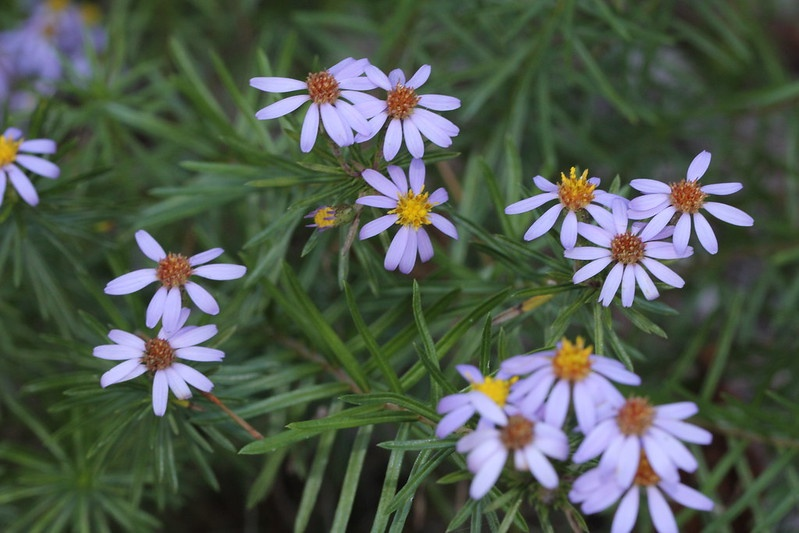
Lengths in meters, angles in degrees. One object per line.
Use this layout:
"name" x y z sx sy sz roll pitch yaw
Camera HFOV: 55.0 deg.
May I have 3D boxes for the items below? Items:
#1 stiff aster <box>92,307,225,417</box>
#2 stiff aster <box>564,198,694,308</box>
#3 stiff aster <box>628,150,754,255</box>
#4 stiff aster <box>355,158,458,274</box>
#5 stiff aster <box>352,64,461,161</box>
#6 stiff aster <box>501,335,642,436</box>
"stiff aster" -0.487 0.202 1.575 0.255 0.033 0.196 -16 81 -2
"stiff aster" 0.465 -0.018 1.492 0.215 0.071 0.250 10 78 1
"stiff aster" 0.599 -0.126 1.576 0.226 0.088 0.242 -4 80 1
"stiff aster" 0.004 -0.115 1.618 0.223 0.058 0.223 26 77 -12
"stiff aster" 0.013 -0.324 1.674 0.195 0.095 0.219 -19 85 -9
"stiff aster" 0.332 0.228 1.484 0.194 0.130 0.211 -5 30 -2
